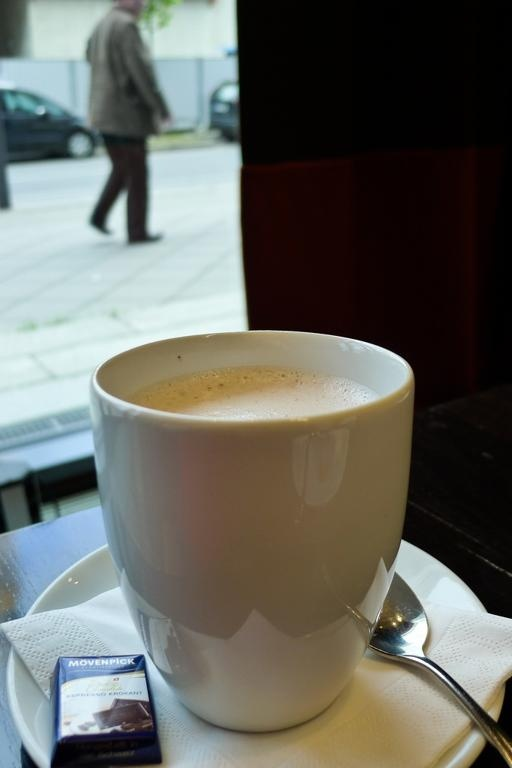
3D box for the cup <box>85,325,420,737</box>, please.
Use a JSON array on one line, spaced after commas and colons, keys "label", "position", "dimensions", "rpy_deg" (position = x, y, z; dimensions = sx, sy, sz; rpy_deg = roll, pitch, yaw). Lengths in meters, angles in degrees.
[{"label": "cup", "position": [-0.004, 0.063, 0.324], "dimensions": [0.143, 0.159, 0.165], "rpy_deg": [-2, 13, -10]}]
